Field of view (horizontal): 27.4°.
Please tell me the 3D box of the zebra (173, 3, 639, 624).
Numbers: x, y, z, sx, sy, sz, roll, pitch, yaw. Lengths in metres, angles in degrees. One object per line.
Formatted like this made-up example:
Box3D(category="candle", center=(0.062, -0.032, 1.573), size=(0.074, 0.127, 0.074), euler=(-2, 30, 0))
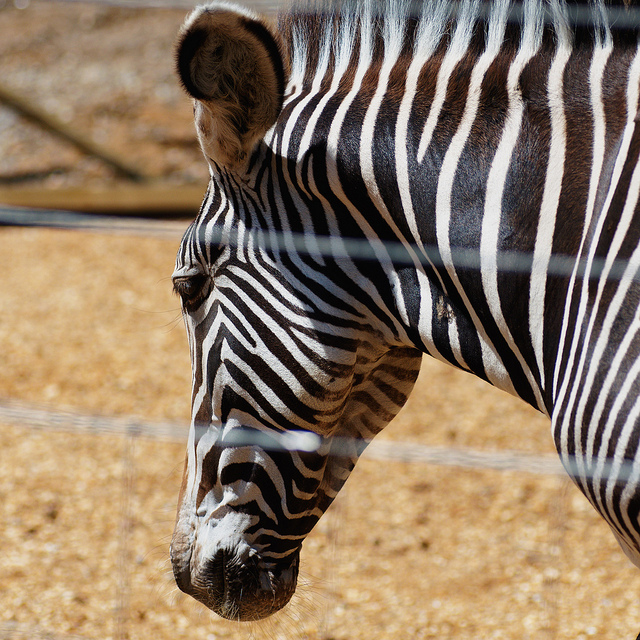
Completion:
Box3D(category="zebra", center=(0.193, -0.033, 3.473), size=(1.151, 1.594, 1.097), euler=(3, 32, 1))
